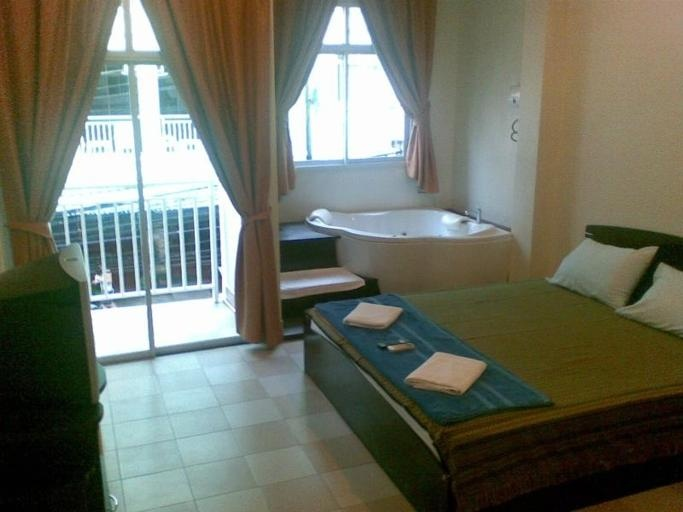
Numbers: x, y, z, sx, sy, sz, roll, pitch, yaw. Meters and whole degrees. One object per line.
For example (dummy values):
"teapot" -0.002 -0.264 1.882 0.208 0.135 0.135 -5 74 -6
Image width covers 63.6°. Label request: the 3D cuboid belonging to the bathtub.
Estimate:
"bathtub" 0.574 -0.334 5.700 1.006 0.359 0.781 -3 10 -14
